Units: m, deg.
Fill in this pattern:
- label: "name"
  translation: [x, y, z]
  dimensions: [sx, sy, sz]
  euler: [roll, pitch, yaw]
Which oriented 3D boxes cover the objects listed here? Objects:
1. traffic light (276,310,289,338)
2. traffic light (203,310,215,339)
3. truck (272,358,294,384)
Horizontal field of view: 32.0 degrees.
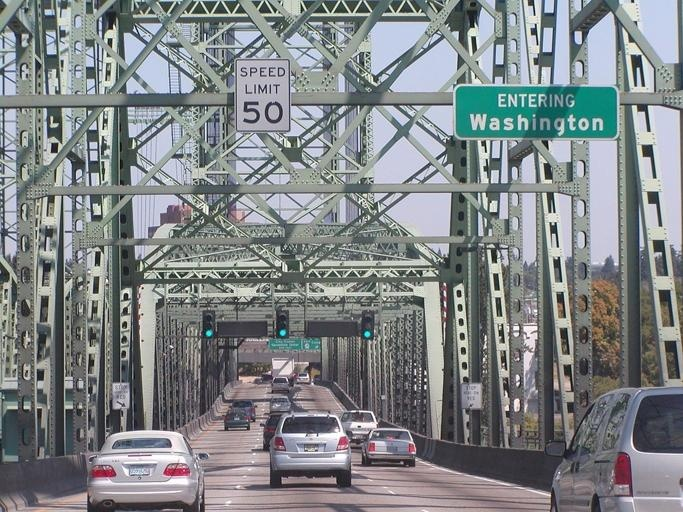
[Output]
- label: "traffic light"
  translation: [-2.931, 3.295, 59.452]
  dimensions: [0.565, 1.361, 1.547]
  euler: [-1, -8, -7]
- label: "traffic light"
  translation: [-6.525, 3.288, 59.184]
  dimensions: [0.513, 1.345, 1.909]
  euler: [0, -9, -10]
- label: "truck"
  translation: [-6.658, 12.916, 137.221]
  dimensions: [3.368, 4.112, 2.154]
  euler: [0, 2, 0]
